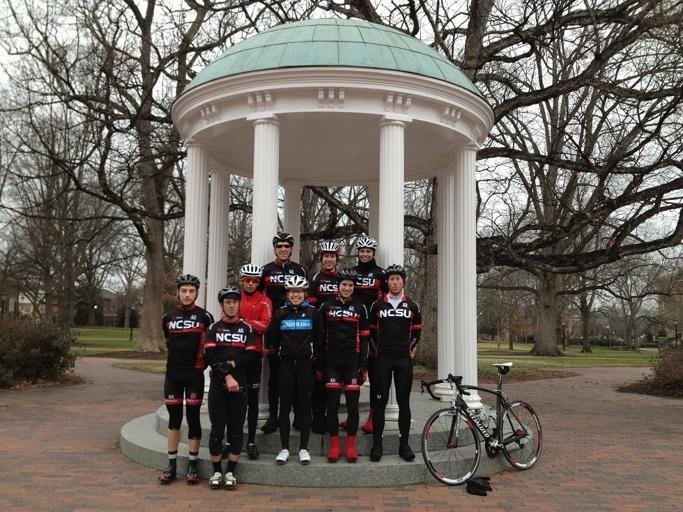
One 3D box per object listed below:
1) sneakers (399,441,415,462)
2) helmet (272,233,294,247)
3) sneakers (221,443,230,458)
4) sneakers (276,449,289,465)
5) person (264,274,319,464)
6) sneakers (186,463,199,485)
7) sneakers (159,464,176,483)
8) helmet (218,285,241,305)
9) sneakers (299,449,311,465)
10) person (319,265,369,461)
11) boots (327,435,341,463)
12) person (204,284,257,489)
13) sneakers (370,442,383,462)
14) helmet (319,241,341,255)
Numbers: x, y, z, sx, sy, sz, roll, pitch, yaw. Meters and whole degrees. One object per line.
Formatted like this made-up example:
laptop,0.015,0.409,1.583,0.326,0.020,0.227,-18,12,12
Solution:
sneakers,1.177,3.510,11.787,0.274,0.308,0.226,1,-6,3
helmet,-1.112,-0.313,12.666,0.246,0.262,0.331,4,-7,-29
sneakers,-2.021,3.479,11.720,0.115,0.261,0.352,2,0,-5
sneakers,-1.013,3.514,11.564,0.221,0.241,0.310,2,-6,-5
person,-0.841,2.009,11.756,0.816,3.280,0.480,1,-6,-1
sneakers,-2.551,3.799,11.516,0.210,0.347,0.243,2,-6,-13
sneakers,-2.987,3.802,11.485,0.270,0.329,0.173,3,-6,-17
helmet,-1.953,0.660,11.617,0.267,0.387,0.190,8,5,-18
sneakers,-0.611,3.499,11.459,0.189,0.247,0.163,1,-6,-2
person,0.039,1.953,11.787,0.876,3.380,0.327,1,-6,0
boots,-0.116,3.412,11.754,0.240,0.467,0.430,1,-6,-1
person,-1.935,2.273,11.387,0.847,3.413,0.368,2,-6,-7
sneakers,0.617,3.501,11.776,0.219,0.308,0.284,1,-6,1
helmet,-0.211,-0.144,12.473,0.306,0.262,0.206,3,-6,-14
